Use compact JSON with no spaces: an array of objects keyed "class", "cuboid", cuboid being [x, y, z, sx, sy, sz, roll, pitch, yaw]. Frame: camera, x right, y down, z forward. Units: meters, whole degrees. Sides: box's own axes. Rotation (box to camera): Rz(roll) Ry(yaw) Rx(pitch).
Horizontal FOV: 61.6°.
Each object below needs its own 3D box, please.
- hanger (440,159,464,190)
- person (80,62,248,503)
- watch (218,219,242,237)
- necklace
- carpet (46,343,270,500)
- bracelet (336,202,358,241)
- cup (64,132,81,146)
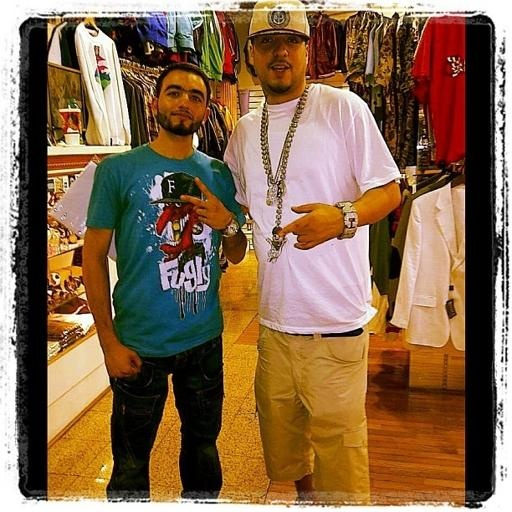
[{"class":"hanger","cuboid":[1.223,-0.518,2.696,0.141,0.170,0.196,1,10,24]},{"class":"person","cuboid":[-0.294,0.133,1.557,0.602,1.588,0.225,-7,10,-30]},{"class":"watch","cuboid":[-0.097,-0.097,1.585,0.061,0.046,0.065,-30,32,37]},{"class":"necklace","cuboid":[0.107,-0.291,1.545,0.179,0.613,0.189,-1,8,8]},{"class":"carpet","cuboid":[-0.471,0.769,1.920,0.685,0.182,0.684,-4,16,-9]},{"class":"bracelet","cuboid":[0.298,-0.115,1.371,0.068,0.109,0.098,-5,-17,3]},{"class":"cup","cuboid":[-1.129,-0.710,2.622,0.064,0.066,0.086,0,4,-4]}]
